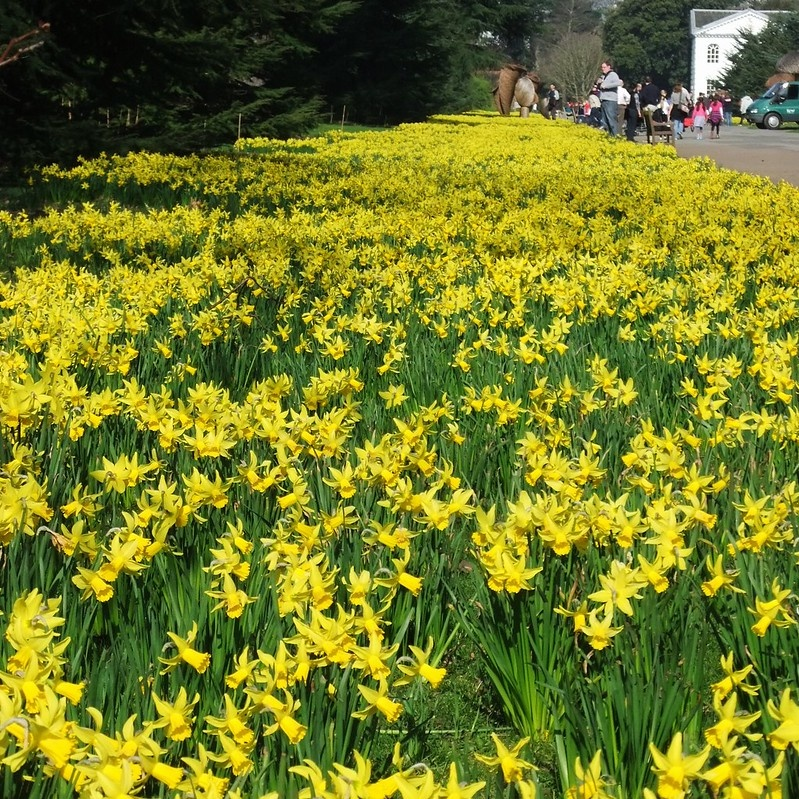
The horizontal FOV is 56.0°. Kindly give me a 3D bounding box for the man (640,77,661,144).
[{"bbox_3d":[8.056,-9.214,24.096,0.595,2.386,0.720,-1,-10,6],"label":"man"}]

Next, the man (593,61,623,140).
[{"bbox_3d":[6.848,-9.831,24.640,0.591,2.500,0.821,-6,13,-1],"label":"man"}]
